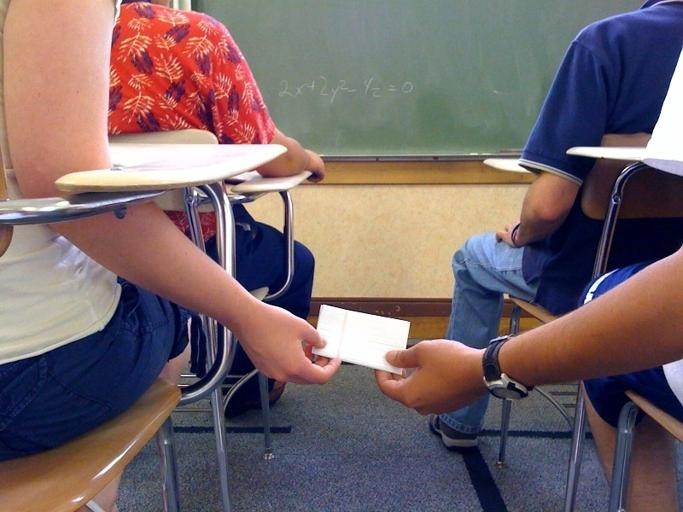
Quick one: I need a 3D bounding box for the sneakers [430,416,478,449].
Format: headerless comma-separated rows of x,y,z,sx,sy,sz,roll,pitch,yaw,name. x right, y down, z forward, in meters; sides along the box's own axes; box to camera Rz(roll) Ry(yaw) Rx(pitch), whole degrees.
0.350,0.523,1.835,0.063,0.084,0.177,0,11,-7,sneakers

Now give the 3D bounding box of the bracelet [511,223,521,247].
0.474,-0.060,1.624,0.012,0.052,0.031,6,72,-5,bracelet

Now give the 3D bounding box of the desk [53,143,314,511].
-0.229,0.087,1.027,0.379,0.367,0.474,-3,20,-7,desk
